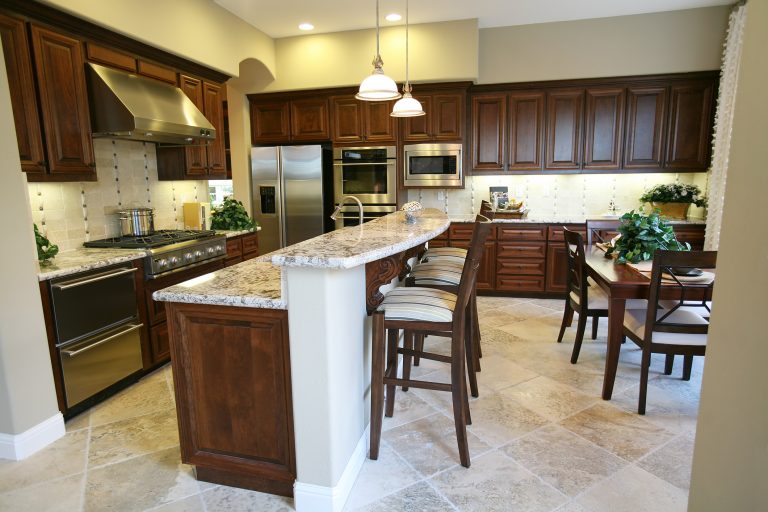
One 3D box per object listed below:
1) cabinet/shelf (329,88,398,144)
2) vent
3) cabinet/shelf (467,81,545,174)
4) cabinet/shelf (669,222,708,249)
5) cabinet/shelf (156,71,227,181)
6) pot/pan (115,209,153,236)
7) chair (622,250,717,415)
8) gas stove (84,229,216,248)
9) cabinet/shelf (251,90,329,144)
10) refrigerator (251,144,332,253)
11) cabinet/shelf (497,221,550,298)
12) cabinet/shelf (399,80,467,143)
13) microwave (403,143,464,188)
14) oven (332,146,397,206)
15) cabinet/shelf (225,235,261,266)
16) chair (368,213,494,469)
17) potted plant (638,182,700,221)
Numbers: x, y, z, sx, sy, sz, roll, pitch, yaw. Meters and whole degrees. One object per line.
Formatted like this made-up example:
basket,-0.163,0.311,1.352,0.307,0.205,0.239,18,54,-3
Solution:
cabinet/shelf,-0.204,-1.704,6.595,0.821,0.600,0.368,3,12,19
vent,-2.105,-1.359,4.767,0.539,0.556,0.978,10,11,20
cabinet/shelf,1.443,-1.552,6.686,1.164,1.023,0.503,-8,16,-22
cabinet/shelf,3.284,-0.212,5.553,0.377,0.327,0.202,3,11,23
cabinet/shelf,-1.968,-1.302,5.196,0.463,1.246,1.135,1,9,4
pot/pan,-2.360,-0.313,4.882,0.267,0.251,0.383,-6,14,-28
chair,2.178,0.521,4.020,0.570,1.250,0.762,8,15,31
gas stove,-2.154,-0.168,4.878,0.664,0.056,1.055,5,11,24
cabinet/shelf,-1.154,-1.766,6.815,1.181,0.585,0.396,2,9,16
refrigerator,-1.376,-0.771,6.781,0.844,1.394,0.518,-13,34,-27
cabinet/shelf,1.843,0.047,6.640,0.842,0.874,0.764,0,5,3
cabinet/shelf,0.566,-1.730,6.493,0.788,0.693,0.385,-6,20,-12
microwave,0.496,-1.133,6.605,0.877,0.558,0.457,-6,13,-24
oven,-0.167,-0.976,6.876,0.884,1.103,0.798,0,1,6
cabinet/shelf,-1.566,-0.089,5.677,0.308,0.339,0.555,0,6,12
chair,0.356,0.514,3.791,0.766,1.611,1.092,2,13,9
potted plant,3.485,-0.662,6.278,0.674,0.422,0.419,5,13,23
